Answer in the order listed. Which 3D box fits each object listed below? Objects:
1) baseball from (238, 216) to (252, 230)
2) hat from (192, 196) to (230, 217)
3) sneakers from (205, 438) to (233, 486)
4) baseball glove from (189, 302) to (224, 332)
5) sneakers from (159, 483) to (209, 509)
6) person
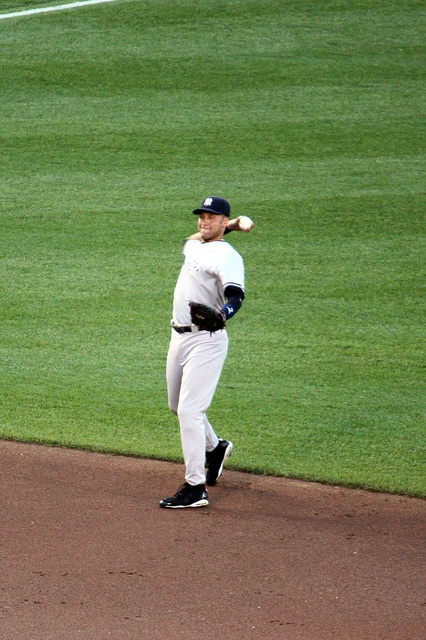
[{"bbox_3d":[0.238,-0.677,9.622,0.047,0.110,0.064,18,-36,-33],"label":"baseball"},{"bbox_3d":[0.018,-0.779,9.446,0.129,0.114,0.203,6,5,43],"label":"hat"},{"bbox_3d":[0.086,0.986,9.719,0.122,0.383,0.185,20,3,31],"label":"sneakers"},{"bbox_3d":[-0.033,-0.019,9.177,0.240,0.131,0.203,5,-3,-1],"label":"baseball glove"},{"bbox_3d":[-0.164,1.194,9.374,0.361,0.186,0.132,2,1,-12],"label":"sneakers"},{"bbox_3d":[-0.046,0.211,9.436,0.509,1.500,0.750,4,-3,-1],"label":"person"}]
